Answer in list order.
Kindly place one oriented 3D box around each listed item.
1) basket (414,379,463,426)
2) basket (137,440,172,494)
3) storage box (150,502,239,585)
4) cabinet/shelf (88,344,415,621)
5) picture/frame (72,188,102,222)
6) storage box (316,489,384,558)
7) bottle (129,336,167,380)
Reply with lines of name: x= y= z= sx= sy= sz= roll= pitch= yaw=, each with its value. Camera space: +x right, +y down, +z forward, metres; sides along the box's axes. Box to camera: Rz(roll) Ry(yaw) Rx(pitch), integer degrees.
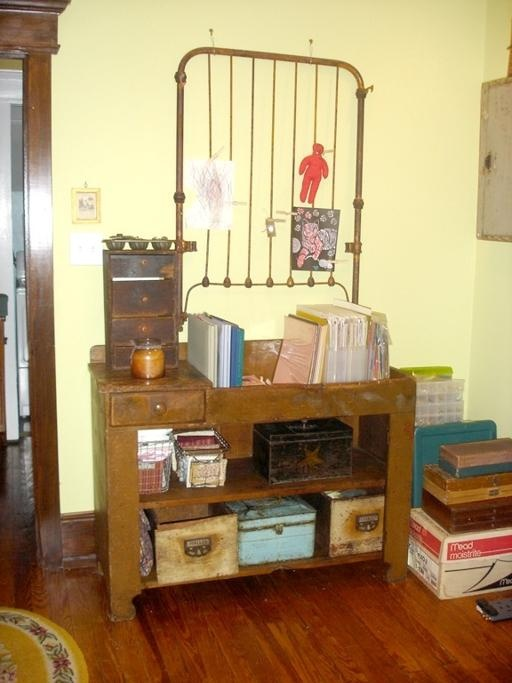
basket: x=0.743 y=0.248 z=2.537 sx=0.197 sy=0.184 sz=0.107 roll=-1 pitch=8 yaw=-12
basket: x=-0.329 y=0.403 z=1.984 sx=0.104 sy=0.105 sz=0.156 roll=-2 pitch=15 yaw=-11
storage box: x=-0.198 y=0.670 z=2.045 sx=0.241 sy=0.151 sz=0.240 roll=-1 pitch=7 yaw=-7
cabinet/shelf: x=-0.019 y=0.477 z=2.030 sx=0.802 sy=0.621 sz=0.311 roll=-2 pitch=9 yaw=-12
picture/frame: x=-0.602 y=-0.486 z=2.159 sx=0.123 sy=0.150 sz=0.012 roll=0 pitch=18 yaw=-15
storage box: x=0.333 y=0.616 z=2.269 sx=0.267 sy=0.253 sz=0.195 roll=-1 pitch=2 yaw=-15
bottle: x=-0.347 y=0.051 z=1.967 sx=0.113 sy=0.127 sz=0.169 roll=-1 pitch=4 yaw=-12
